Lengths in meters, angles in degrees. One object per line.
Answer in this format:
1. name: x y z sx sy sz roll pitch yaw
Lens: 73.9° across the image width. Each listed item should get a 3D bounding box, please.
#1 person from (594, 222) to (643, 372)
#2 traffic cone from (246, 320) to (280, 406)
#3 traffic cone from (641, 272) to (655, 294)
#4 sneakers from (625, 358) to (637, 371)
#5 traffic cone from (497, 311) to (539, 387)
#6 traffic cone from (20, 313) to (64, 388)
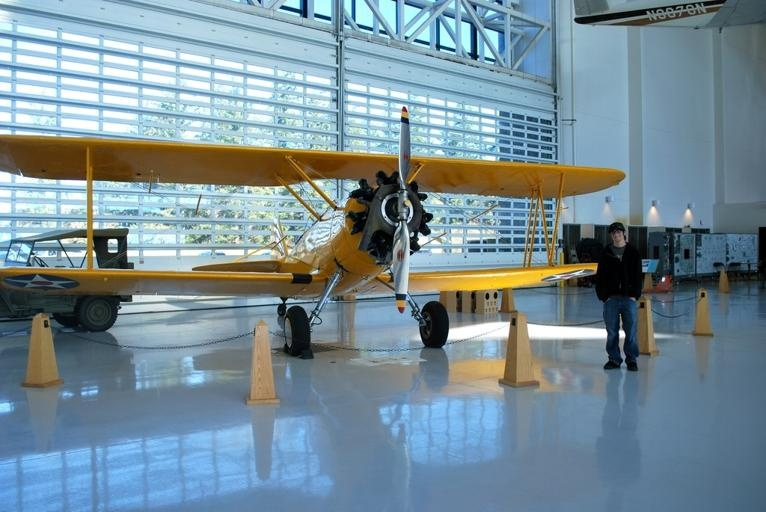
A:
1. person: 2.556 0.439 5.486 0.472 1.576 0.495 4 12 23
2. traffic cone: -1.168 0.948 4.696 0.273 0.747 0.425 -3 11 -13
3. traffic cone: 6.349 0.629 12.078 0.224 0.433 0.484 5 11 27
4. sneakers: 2.659 1.146 5.423 0.124 0.112 0.164 4 10 23
5. traffic cone: 1.353 0.895 5.005 0.383 0.743 0.400 2 11 15
6. traffic cone: -3.545 0.933 5.115 0.323 0.726 0.487 -8 13 -33
